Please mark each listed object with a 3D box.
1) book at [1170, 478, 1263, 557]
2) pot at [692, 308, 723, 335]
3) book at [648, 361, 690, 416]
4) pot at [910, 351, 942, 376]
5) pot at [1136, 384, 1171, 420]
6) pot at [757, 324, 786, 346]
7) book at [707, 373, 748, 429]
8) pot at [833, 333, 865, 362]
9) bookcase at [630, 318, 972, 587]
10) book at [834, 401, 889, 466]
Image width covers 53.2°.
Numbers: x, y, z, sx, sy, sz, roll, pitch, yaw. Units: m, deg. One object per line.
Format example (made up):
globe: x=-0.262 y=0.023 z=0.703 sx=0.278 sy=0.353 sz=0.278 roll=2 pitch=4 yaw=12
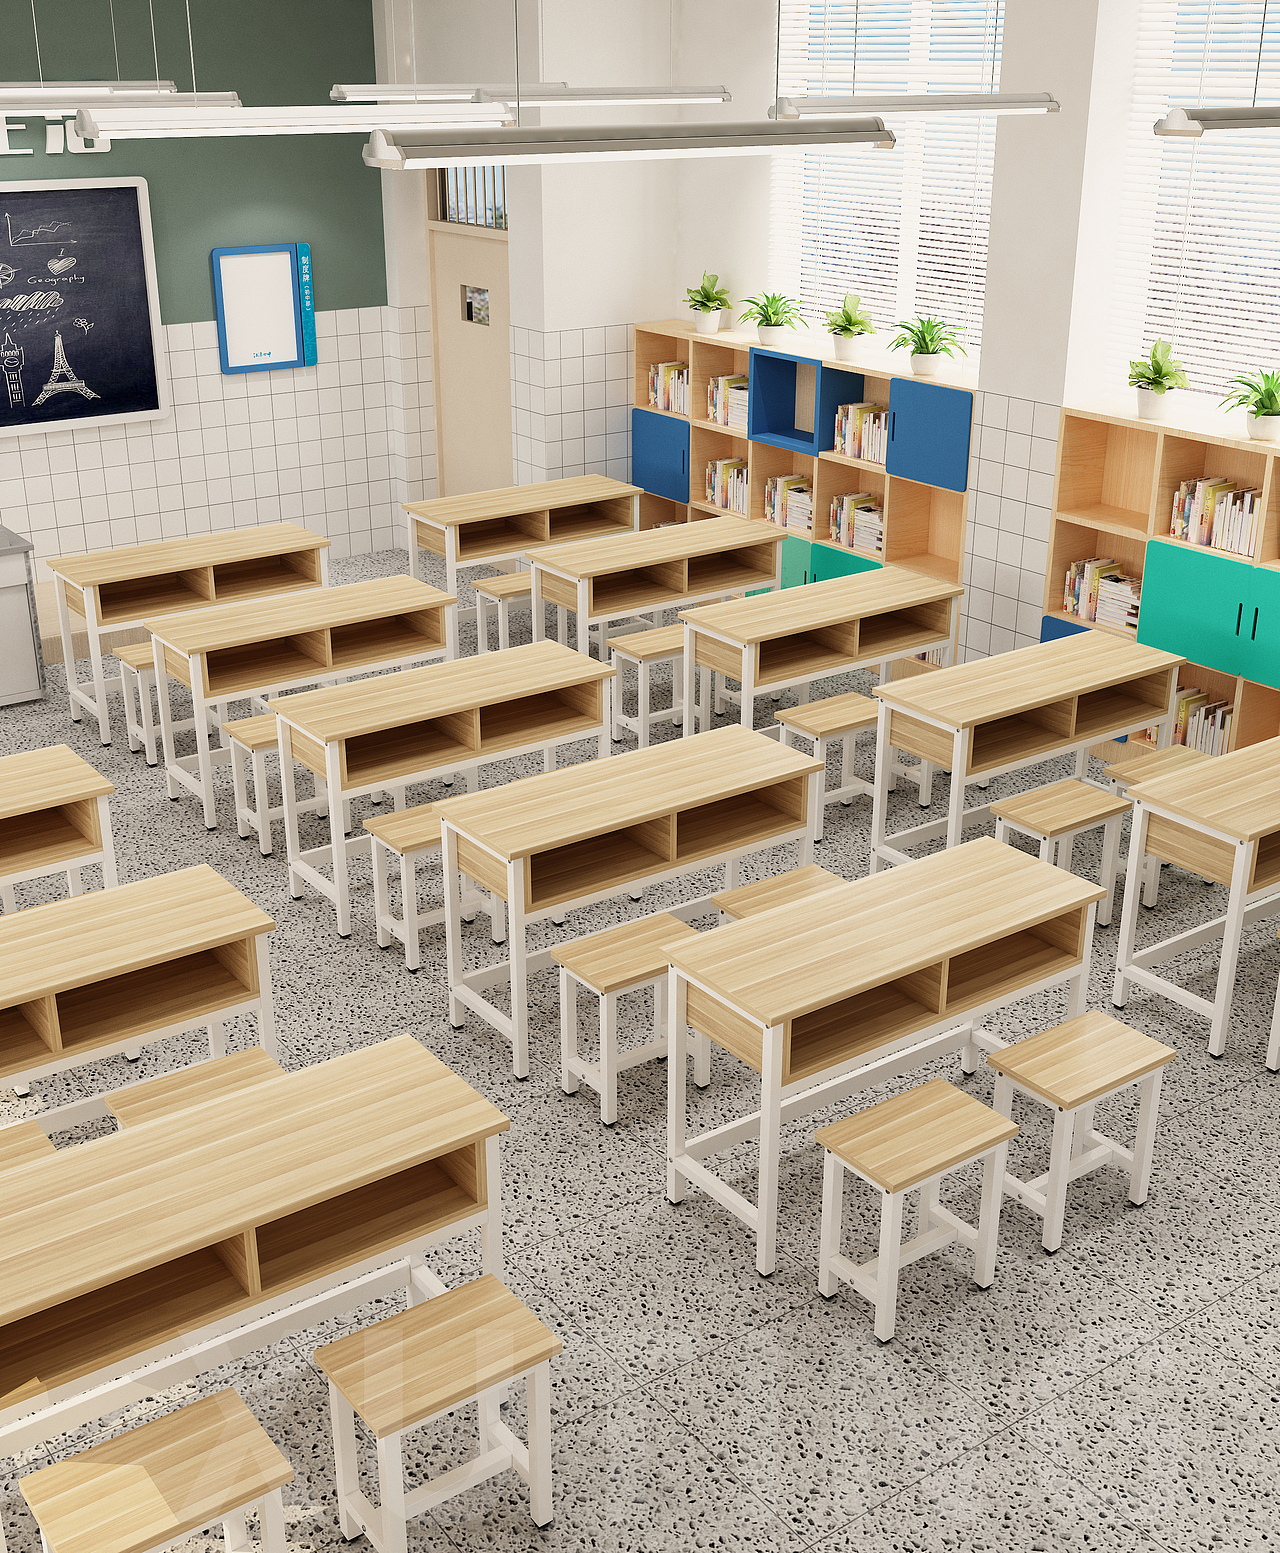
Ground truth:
book: x=2.397 y=-1.090 z=5.292 sx=0.369 sy=0.135 sz=0.278 roll=-27 pitch=39 yaw=-35
pot: x=0.405 y=-2.678 z=7.572 sx=0.213 sy=0.136 sz=0.201 roll=-1 pitch=22 yaw=0
book: x=0.189 y=-2.380 z=7.826 sx=0.230 sy=0.279 sz=0.308 roll=21 pitch=32 yaw=34
pot: x=1.429 y=-2.055 z=6.340 sx=0.129 sy=0.082 sz=0.116 roll=-7 pitch=26 yaw=-16
pot: x=2.157 y=-1.586 z=5.405 sx=0.150 sy=0.102 sz=0.133 roll=11 pitch=26 yaw=27
pot: x=0.748 y=-2.496 z=7.263 sx=0.169 sy=0.100 sz=0.159 roll=-2 pitch=30 yaw=1
book: x=0.524 y=-2.201 z=7.481 sx=0.204 sy=0.308 sz=0.324 roll=-4 pitch=24 yaw=-14
pot: x=1.098 y=-2.254 z=6.682 sx=0.162 sy=0.109 sz=0.142 roll=0 pitch=20 yaw=2
bookcase: x=0.878 y=-1.732 z=7.426 sx=0.421 sy=1.522 sz=2.750 roll=-20 pitch=33 yaw=-30
book: x=1.178 y=-1.811 z=6.743 sx=0.372 sy=0.324 sz=0.244 roll=-8 pitch=22 yaw=-31
